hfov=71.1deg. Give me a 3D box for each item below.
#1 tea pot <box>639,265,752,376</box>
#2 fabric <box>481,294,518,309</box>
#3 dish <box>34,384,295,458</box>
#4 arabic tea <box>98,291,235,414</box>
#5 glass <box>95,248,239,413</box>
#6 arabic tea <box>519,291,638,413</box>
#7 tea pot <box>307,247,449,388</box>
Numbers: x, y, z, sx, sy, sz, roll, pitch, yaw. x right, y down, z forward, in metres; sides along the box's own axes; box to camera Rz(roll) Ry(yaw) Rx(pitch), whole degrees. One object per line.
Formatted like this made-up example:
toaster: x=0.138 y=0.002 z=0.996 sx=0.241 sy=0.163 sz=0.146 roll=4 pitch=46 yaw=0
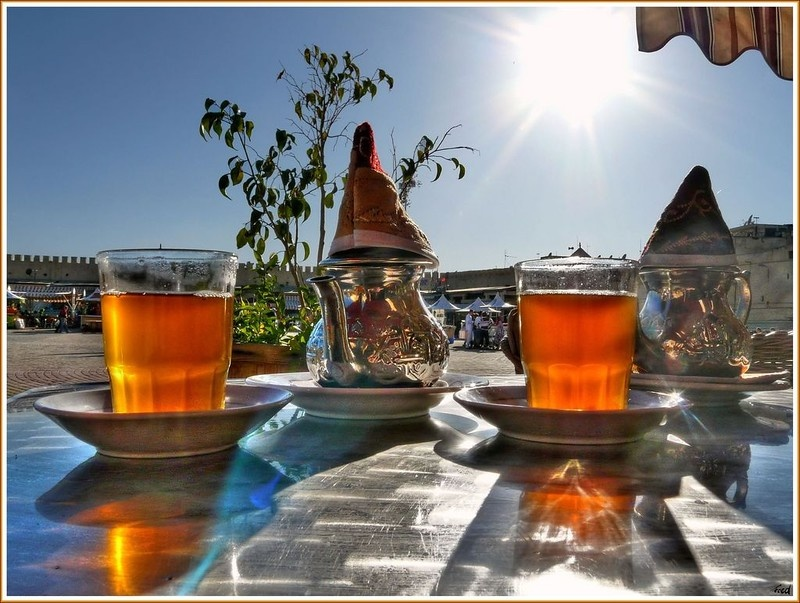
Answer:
tea pot: x=0.590 y=0.040 z=1.163 sx=0.302 sy=0.194 sz=0.219 roll=-3 pitch=2 yaw=-1
fabric: x=4.725 y=0.078 z=26.837 sx=1.923 sy=0.790 sz=1.825 roll=0 pitch=-1 yaw=7
dish: x=-0.344 y=0.166 z=0.829 sx=0.356 sy=0.079 sz=0.274 roll=-1 pitch=5 yaw=-10
arabic tea: x=-0.351 y=0.075 z=0.885 sx=0.191 sy=0.198 sz=0.184 roll=0 pitch=-7 yaw=-24
glass: x=-0.358 y=0.059 z=0.877 sx=0.197 sy=0.264 sz=0.195 roll=1 pitch=5 yaw=-20
arabic tea: x=0.282 y=0.092 z=0.898 sx=0.150 sy=0.148 sz=0.145 roll=-4 pitch=-10 yaw=19
tea pot: x=-0.052 y=0.050 z=1.202 sx=0.285 sy=0.257 sz=0.396 roll=-1 pitch=4 yaw=22
